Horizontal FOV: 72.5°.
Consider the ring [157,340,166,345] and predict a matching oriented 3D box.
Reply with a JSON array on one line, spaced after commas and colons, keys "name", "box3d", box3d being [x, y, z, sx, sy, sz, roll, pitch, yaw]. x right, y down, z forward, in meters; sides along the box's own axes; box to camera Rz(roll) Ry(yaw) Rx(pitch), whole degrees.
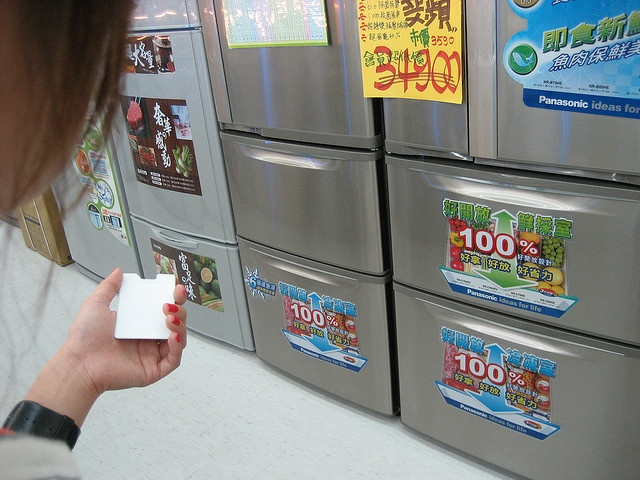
[{"name": "ring", "box3d": [-0.474, 0.304, 1.300, 0.018, 0.020, 0.005, 7, 6, -27]}]
